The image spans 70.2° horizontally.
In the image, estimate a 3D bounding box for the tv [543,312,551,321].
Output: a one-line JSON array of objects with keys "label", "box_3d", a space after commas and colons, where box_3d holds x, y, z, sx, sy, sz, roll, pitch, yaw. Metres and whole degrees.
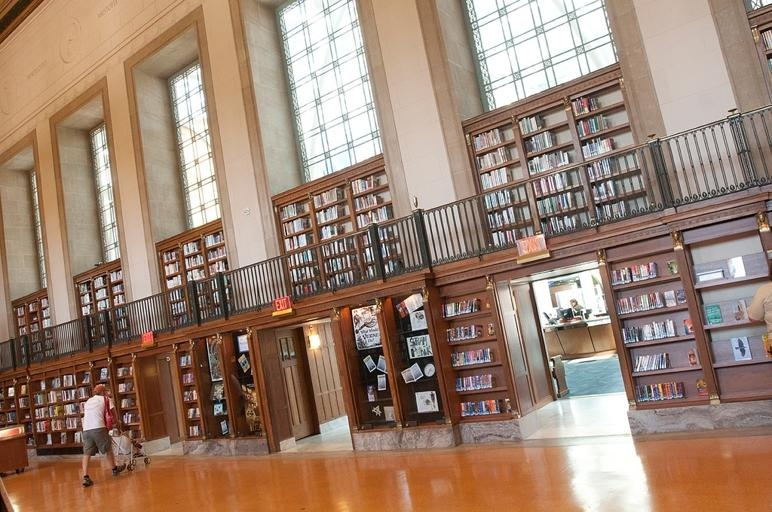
[{"label": "tv", "box_3d": [4.515, 1.694, 15.446, 0.145, 0.253, 0.078, -38, 6, -15]}]

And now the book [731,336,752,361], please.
[{"label": "book", "box_3d": [5.555, 1.448, 8.546, 0.316, 0.482, 0.058, -14, -18, 33]}]

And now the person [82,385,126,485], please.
[{"label": "person", "box_3d": [-6.147, 3.745, 11.612, 0.767, 1.568, 1.061, -10, -3, -28]}]

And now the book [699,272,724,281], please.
[{"label": "book", "box_3d": [5.194, 0.316, 8.766, 0.364, 0.182, 0.106, -11, -3, 29]}]

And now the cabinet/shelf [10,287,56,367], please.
[{"label": "cabinet/shelf", "box_3d": [-11.877, 2.456, 18.433, 1.929, 2.774, 0.521, -22, -22, 32]}]

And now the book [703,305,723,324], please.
[{"label": "book", "box_3d": [5.184, 0.926, 8.681, 0.241, 0.358, 0.139, -12, -3, 27]}]

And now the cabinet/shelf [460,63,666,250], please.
[{"label": "cabinet/shelf", "box_3d": [3.403, -1.763, 10.339, 3.849, 3.225, 0.942, -11, -4, 23]}]

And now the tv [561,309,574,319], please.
[{"label": "tv", "box_3d": [5.006, 1.602, 15.130, 0.328, 0.329, 0.143, -12, -3, 27]}]

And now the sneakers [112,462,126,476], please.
[{"label": "sneakers", "box_3d": [-5.858, 4.626, 11.962, 0.126, 0.140, 0.353, 1, 8, 9]}]

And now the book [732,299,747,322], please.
[{"label": "book", "box_3d": [5.544, 0.855, 8.557, 0.133, 0.245, 0.381, -12, -31, 15]}]

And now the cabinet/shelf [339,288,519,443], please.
[{"label": "cabinet/shelf", "box_3d": [0.948, 2.083, 10.408, 2.833, 2.413, 0.888, -13, -15, 17]}]

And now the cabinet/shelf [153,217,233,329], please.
[{"label": "cabinet/shelf", "box_3d": [-5.118, 0.542, 14.518, 2.460, 2.567, 0.772, -21, -18, 23]}]

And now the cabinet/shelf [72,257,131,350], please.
[{"label": "cabinet/shelf", "box_3d": [-8.519, 1.496, 16.401, 2.112, 2.531, 0.689, -24, -25, 31]}]

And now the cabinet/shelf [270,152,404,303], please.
[{"label": "cabinet/shelf", "box_3d": [-1.094, -0.534, 12.391, 3.335, 2.807, 0.741, -18, -10, 30]}]

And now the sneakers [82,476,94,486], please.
[{"label": "sneakers", "box_3d": [-6.103, 4.564, 11.158, 0.177, 0.180, 0.268, -9, -3, -33]}]

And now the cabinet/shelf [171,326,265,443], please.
[{"label": "cabinet/shelf", "box_3d": [-3.851, 2.946, 12.721, 3.102, 2.627, 0.917, -5, -1, 33]}]
